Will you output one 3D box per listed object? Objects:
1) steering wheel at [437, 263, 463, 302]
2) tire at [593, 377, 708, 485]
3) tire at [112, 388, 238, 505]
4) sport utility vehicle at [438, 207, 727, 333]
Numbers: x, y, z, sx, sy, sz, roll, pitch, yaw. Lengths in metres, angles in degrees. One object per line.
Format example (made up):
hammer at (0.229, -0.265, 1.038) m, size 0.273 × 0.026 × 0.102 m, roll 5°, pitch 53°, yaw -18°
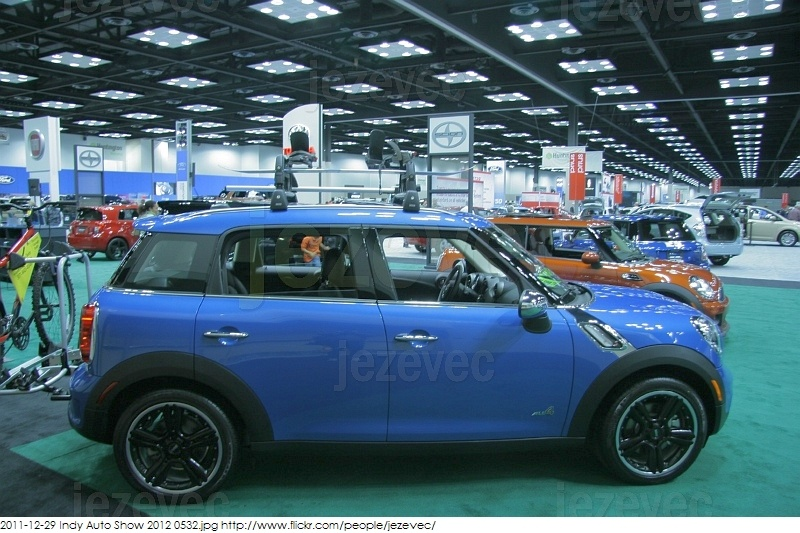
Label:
steering wheel at (0.452, 0.149, 4.592) m, size 0.063 × 0.331 × 0.350 m, roll 37°, pitch -37°, yaw -4°
tire at (1.853, 1.198, 3.831) m, size 1.121 × 0.766 × 0.296 m, roll -6°, pitch 15°, yaw -12°
tire at (-1.581, 1.244, 3.633) m, size 1.243 × 0.835 × 0.355 m, roll 0°, pitch 11°, yaw 2°
sport utility vehicle at (3.002, -0.013, 7.806) m, size 4.514 × 1.272 × 1.830 m, roll 0°, pitch 5°, yaw 11°
